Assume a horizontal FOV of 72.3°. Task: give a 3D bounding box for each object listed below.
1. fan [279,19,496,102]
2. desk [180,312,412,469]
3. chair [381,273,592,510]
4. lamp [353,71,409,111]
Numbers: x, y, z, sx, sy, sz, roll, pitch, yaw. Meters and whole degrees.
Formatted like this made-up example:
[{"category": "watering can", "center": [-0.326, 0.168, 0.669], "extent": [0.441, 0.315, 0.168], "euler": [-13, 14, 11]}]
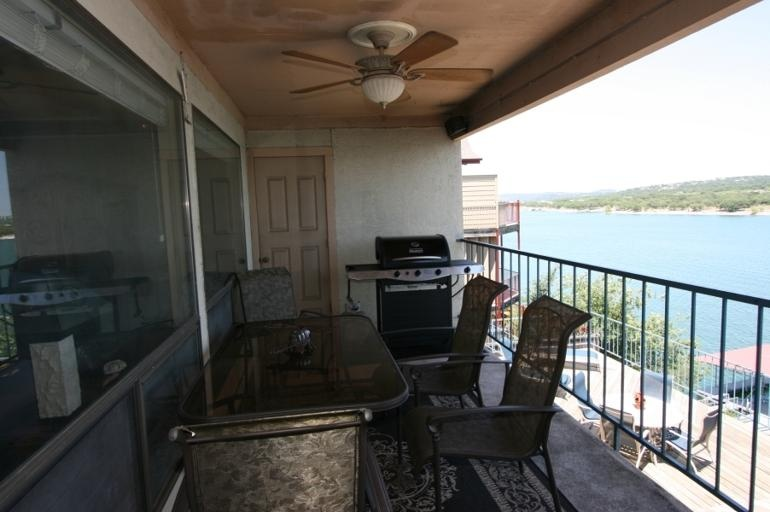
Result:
[{"category": "fan", "center": [0.060, -1.443, 3.962], "extent": [0.859, 0.307, 0.859], "euler": [0, 2, 33]}, {"category": "desk", "center": [-0.544, 0.831, 3.566], "extent": [1.207, 0.438, 2.123], "euler": [-3, 7, -10]}, {"category": "chair", "center": [0.507, 0.725, 3.709], "extent": [1.379, 1.582, 1.062], "euler": [1, 1, -4]}, {"category": "lamp", "center": [-0.009, -1.241, 4.102], "extent": [0.347, 0.196, 0.333], "euler": [-3, -2, -41]}]
